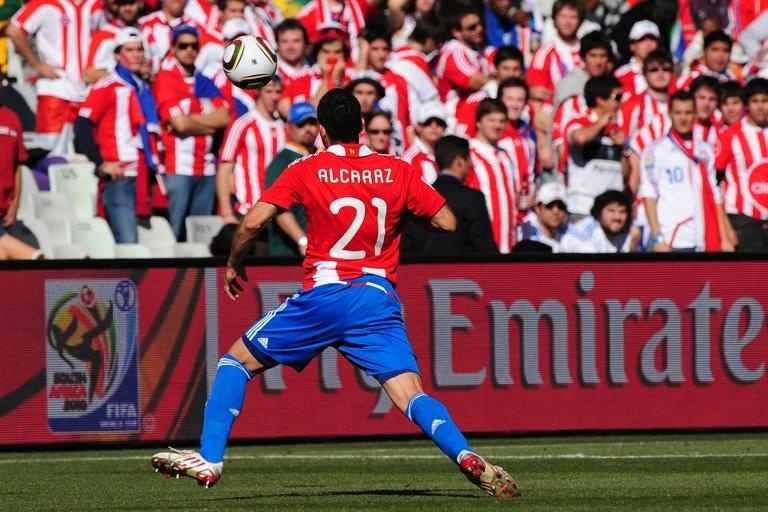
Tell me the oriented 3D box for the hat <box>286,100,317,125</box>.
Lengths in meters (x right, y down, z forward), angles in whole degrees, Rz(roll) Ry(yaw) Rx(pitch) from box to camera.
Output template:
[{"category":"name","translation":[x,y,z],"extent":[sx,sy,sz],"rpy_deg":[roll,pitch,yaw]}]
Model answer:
[{"category":"hat","translation":[-0.905,-1.536,17.424],"extent":[0.283,0.242,0.492],"rpy_deg":[-5,3,-13]}]

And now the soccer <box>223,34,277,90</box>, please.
[{"category":"soccer","translation":[-1.369,-2.013,16.213],"extent":[0.470,0.545,0.506],"rpy_deg":[-10,16,-9]}]

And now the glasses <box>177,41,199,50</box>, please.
[{"category":"glasses","translation":[-2.222,-2.372,18.224],"extent":[0.245,0.099,0.096],"rpy_deg":[3,-1,-32]}]

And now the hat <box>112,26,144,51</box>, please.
[{"category":"hat","translation":[-2.834,-2.389,17.714],"extent":[0.314,0.291,0.391],"rpy_deg":[2,-1,-9]}]

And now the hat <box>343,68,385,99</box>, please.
[{"category":"hat","translation":[-0.209,-1.910,17.985],"extent":[0.552,0.244,0.685],"rpy_deg":[3,-15,1]}]
